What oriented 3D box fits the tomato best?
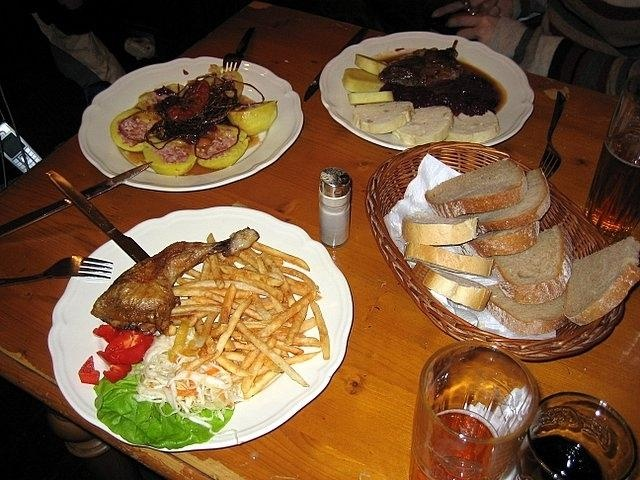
[{"bbox_3d":[-0.774,0.453,1.800,0.274,0.293,0.078,-18,102,-15],"label":"tomato"}]

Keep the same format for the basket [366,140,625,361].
[{"bbox_3d":[0.542,0.203,2.063,0.815,0.258,1.099,-33,67,-22],"label":"basket"}]

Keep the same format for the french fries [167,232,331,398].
[{"bbox_3d":[-0.274,0.322,1.860,0.523,0.107,0.570,22,56,10],"label":"french fries"}]

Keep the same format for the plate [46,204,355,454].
[{"bbox_3d":[-0.458,0.292,1.880,1.151,0.086,1.035,19,62,10],"label":"plate"}]
